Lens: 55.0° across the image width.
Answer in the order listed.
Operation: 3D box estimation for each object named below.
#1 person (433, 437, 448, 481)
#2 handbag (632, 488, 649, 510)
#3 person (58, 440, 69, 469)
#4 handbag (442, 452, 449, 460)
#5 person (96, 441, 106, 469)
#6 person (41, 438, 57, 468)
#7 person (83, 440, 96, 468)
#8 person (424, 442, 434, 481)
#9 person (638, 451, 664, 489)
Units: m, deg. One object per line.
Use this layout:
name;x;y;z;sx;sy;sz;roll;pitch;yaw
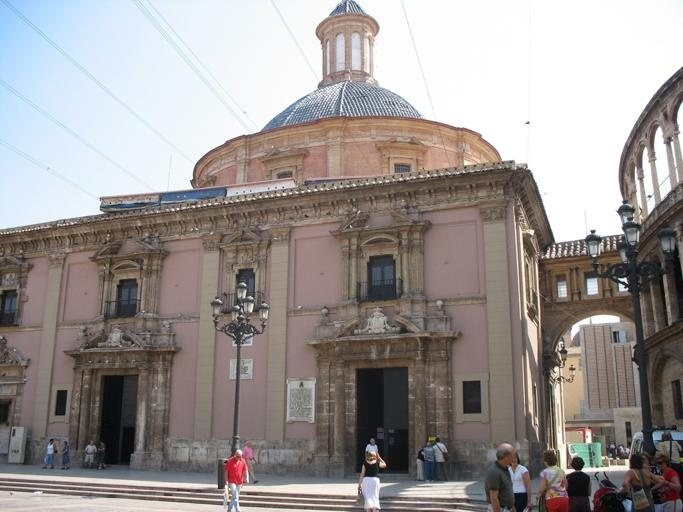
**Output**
person;4.000;8.119;26.342;0.528;1.686;0.903;-4;-19;8
handbag;6.433;5.238;14.108;0.345;0.377;0.211;-17;-37;16
person;-13.337;9.554;31.758;0.415;1.420;1.824;6;-20;-21
handbag;4.149;8.064;26.306;0.222;0.350;0.778;-4;-19;9
person;-11.607;9.593;31.702;0.443;1.300;1.031;6;-20;-21
person;-14.071;9.536;31.759;0.474;1.460;2.060;7;-20;-21
person;-12.078;9.528;31.548;0.566;1.254;0.919;6;-20;-20
person;3.510;8.238;26.031;0.445;1.262;0.265;-4;-19;9
person;6.933;4.835;14.701;0.348;0.927;0.339;-3;-40;14
